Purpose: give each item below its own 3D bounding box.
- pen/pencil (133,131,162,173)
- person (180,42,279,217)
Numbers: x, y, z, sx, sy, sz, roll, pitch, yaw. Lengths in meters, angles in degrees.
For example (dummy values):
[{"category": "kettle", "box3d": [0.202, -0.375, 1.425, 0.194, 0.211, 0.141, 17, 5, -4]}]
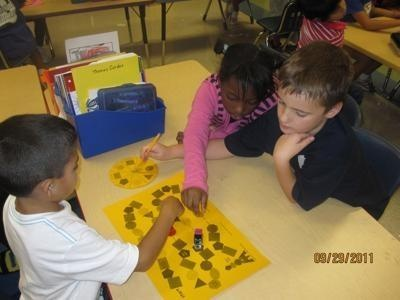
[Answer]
[{"category": "pen/pencil", "box3d": [-0.254, 0.016, 1.486, 0.023, 0.219, 0.023, 33, 13, 9]}, {"category": "person", "box3d": [0.106, -0.161, 1.513, 0.441, 0.496, 0.854, 22, 46, 3]}]
